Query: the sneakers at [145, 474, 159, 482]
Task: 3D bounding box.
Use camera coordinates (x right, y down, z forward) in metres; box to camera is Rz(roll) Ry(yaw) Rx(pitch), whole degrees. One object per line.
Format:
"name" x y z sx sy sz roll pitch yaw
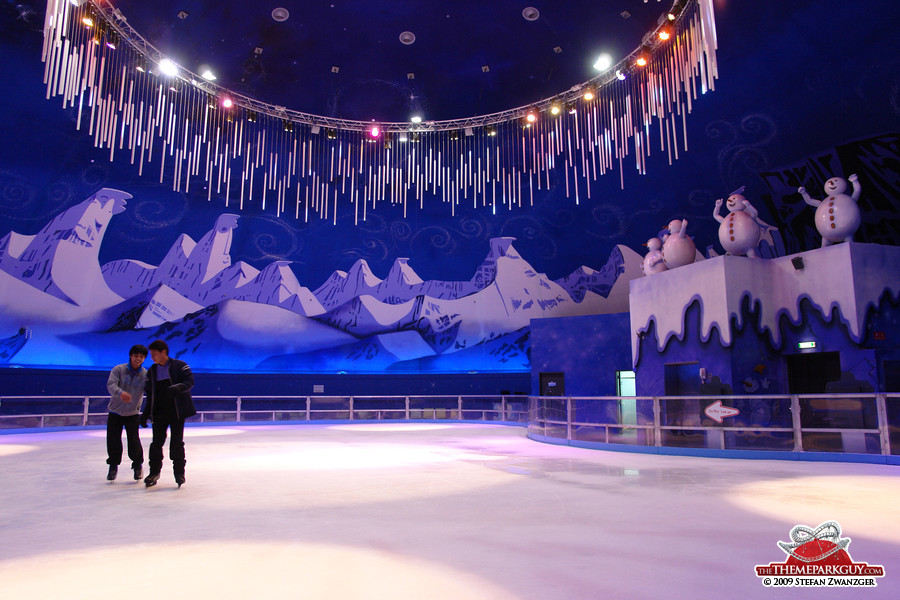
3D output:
"sneakers" -4.705 2.816 9.223 0.154 0.175 0.177 3 -10 -20

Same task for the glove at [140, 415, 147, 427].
"glove" -4.930 1.932 9.431 0.091 0.195 0.463 5 -10 -27

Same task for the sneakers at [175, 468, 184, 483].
"sneakers" -4.329 2.810 9.376 0.148 0.226 0.371 4 -10 -26

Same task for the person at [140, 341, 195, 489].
"person" -4.568 1.808 9.511 0.733 2.316 1.038 4 -10 -26
